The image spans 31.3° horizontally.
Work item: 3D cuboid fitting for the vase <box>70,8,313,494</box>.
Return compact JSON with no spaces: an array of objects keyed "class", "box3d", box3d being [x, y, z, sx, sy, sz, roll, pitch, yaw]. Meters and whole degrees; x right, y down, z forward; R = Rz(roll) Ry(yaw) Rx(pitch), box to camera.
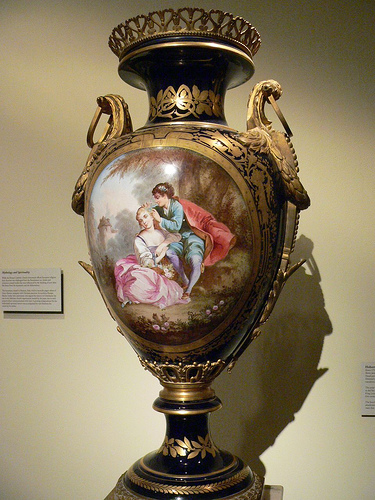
[{"class":"vase","box3d":[0.002,0.017,1.411,0.493,0.991,0.304,4,-8,-10]}]
